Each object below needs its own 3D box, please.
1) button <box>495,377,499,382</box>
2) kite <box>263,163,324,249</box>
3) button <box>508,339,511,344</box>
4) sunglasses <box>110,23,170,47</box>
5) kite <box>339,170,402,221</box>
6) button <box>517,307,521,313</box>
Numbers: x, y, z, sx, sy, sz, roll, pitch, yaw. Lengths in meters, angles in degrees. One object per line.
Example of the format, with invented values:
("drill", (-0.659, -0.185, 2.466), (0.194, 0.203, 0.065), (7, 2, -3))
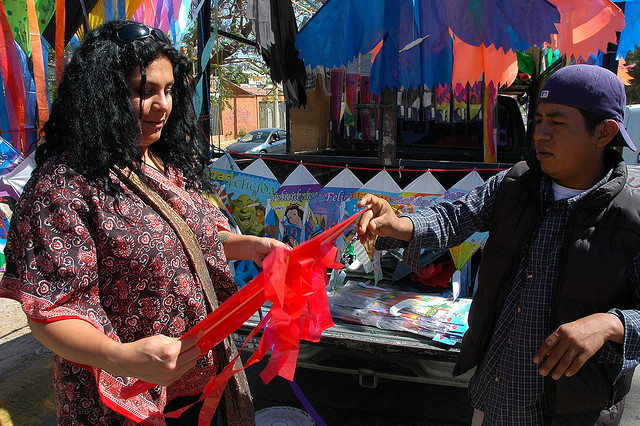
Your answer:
("button", (0.963, 0.911, 2.755), (0.016, 0.026, 0.006), (-4, -8, 21))
("kite", (-0.230, -0.042, 4.274), (0.624, 0.813, 0.032), (3, 5, 19))
("button", (1.021, 0.701, 2.724), (0.004, 0.016, 0.015), (5, -37, -35))
("sunglasses", (-0.873, -0.869, 2.459), (0.275, 0.121, 0.089), (-9, 14, -30))
("kite", (0.381, -0.129, 3.855), (0.299, 0.369, 0.015), (25, 22, 9))
("button", (1.064, 0.522, 2.706), (0.018, 0.029, 0.006), (-6, -10, 39))
